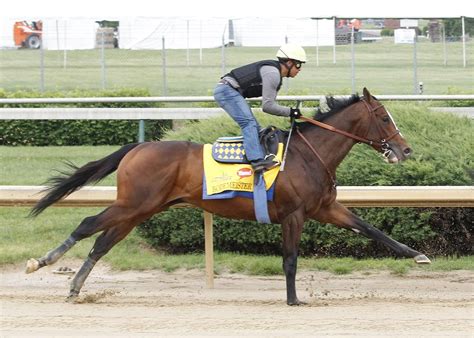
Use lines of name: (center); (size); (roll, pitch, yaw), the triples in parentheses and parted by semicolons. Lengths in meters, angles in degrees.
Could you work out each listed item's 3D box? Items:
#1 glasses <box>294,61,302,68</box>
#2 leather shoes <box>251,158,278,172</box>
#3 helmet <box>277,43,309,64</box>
glasses: (0.762, -1.263, 10.011); (0.083, 0.043, 0.089); (0, -6, -5)
leather shoes: (0.327, -0.045, 9.696); (0.404, 0.129, 0.113); (-9, 13, 5)
helmet: (0.732, -1.399, 9.987); (0.378, 0.164, 0.238); (-7, 26, -23)
